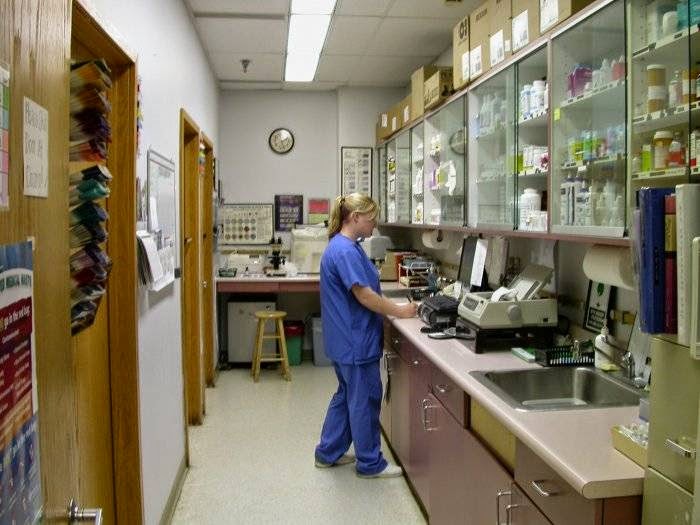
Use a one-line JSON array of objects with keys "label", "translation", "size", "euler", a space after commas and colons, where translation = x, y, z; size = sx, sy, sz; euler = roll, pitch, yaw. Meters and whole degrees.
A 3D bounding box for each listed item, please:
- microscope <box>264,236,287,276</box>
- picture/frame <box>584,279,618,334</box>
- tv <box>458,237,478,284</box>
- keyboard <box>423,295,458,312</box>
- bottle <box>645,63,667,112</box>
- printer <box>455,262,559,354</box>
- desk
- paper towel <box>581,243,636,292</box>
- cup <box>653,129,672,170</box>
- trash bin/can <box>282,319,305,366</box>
[{"label": "microscope", "translation": [-0.779, -0.073, 5.621], "size": [0.245, 0.411, 0.257], "euler": [-4, 10, -32]}, {"label": "picture/frame", "translation": [1.138, 0.201, 2.409], "size": [0.016, 0.285, 0.211], "euler": [4, 9, -13]}, {"label": "tv", "translation": [0.782, -0.018, 3.388], "size": [0.013, 0.301, 0.266], "euler": [8, 2, -22]}, {"label": "keyboard", "translation": [0.530, 0.235, 3.138], "size": [0.201, 0.046, 0.396], "euler": [0, 7, 5]}, {"label": "bottle", "translation": [0.981, -0.561, 1.708], "size": [0.059, 0.153, 0.029], "euler": [4, 7, 38]}, {"label": "printer", "translation": [0.783, 0.209, 2.707], "size": [0.379, 0.444, 0.425], "euler": [0, 0, -4]}, {"label": "desk", "translation": [-0.841, 0.567, 5.287], "size": [0.786, 0.819, 0.362], "euler": [0, -2, -6]}, {"label": "paper towel", "translation": [1.005, 0.010, 2.030], "size": [0.107, 0.158, 0.240], "euler": [-1, 7, -11]}, {"label": "cup", "translation": [0.996, -0.352, 1.700], "size": [0.061, 0.123, 0.078], "euler": [1, 6, 20]}, {"label": "trash bin/can", "translation": [-0.601, 0.843, 5.466], "size": [0.276, 0.364, 0.306], "euler": [-10, -9, 18]}]
